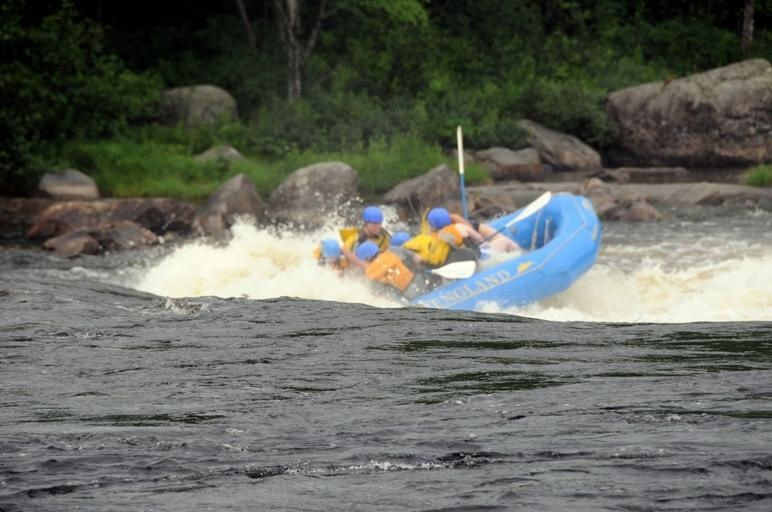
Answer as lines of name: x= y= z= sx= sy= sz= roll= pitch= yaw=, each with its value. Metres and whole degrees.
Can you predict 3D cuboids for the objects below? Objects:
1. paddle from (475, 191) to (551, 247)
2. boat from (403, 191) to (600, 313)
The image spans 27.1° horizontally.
paddle: x=3.094 y=-0.707 z=40.338 sx=2.535 sy=0.563 sz=0.888 roll=-36 pitch=59 yaw=-25
boat: x=3.455 y=-0.001 z=39.565 sx=4.480 sy=1.625 sz=2.160 roll=-29 pitch=39 yaw=-35
